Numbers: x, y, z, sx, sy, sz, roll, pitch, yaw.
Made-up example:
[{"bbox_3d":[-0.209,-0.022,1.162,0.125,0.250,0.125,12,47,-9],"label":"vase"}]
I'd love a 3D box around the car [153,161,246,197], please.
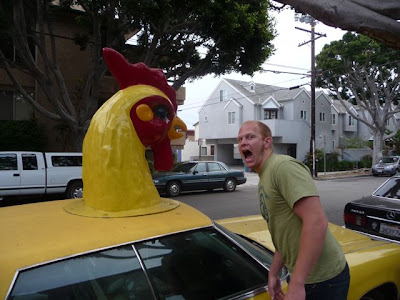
[{"bbox_3d":[-0.068,1.240,13.087,3.336,1.200,1.478,4,-10,-33],"label":"car"}]
